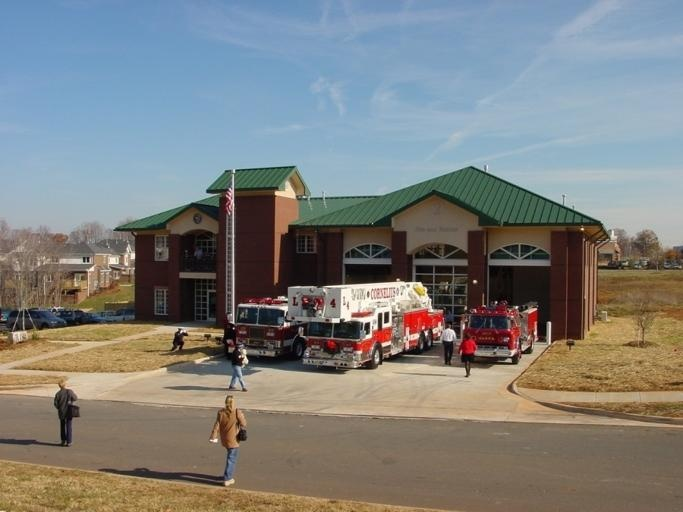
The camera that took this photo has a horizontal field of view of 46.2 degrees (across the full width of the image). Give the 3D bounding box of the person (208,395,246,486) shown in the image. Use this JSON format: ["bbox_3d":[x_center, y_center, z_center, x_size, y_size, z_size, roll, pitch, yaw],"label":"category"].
[{"bbox_3d":[-3.062,5.069,22.325,0.985,2.260,1.277,0,0,0],"label":"person"}]

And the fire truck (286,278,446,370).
[{"bbox_3d":[1.654,3.049,39.133,3.208,3.528,12.294,3,2,25],"label":"fire truck"}]

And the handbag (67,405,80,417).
[{"bbox_3d":[-8.250,4.813,24.848,0.339,0.366,0.390,0,-11,-9],"label":"handbag"}]

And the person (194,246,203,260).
[{"bbox_3d":[-9.699,-0.216,54.584,0.596,1.019,1.517,1,-4,-11],"label":"person"}]

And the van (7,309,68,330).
[{"bbox_3d":[-20.317,4.256,53.083,3.091,1.062,1.486,-1,-1,-4],"label":"van"}]

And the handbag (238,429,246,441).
[{"bbox_3d":[-2.728,4.918,22.119,0.212,0.310,0.449,0,-4,1],"label":"handbag"}]

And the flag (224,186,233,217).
[{"bbox_3d":[-5.862,-2.942,42.079,0.297,1.392,0.662,0,-4,0],"label":"flag"}]

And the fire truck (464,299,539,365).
[{"bbox_3d":[7.868,3.513,39.131,2.780,2.730,7.260,1,1,23],"label":"fire truck"}]
